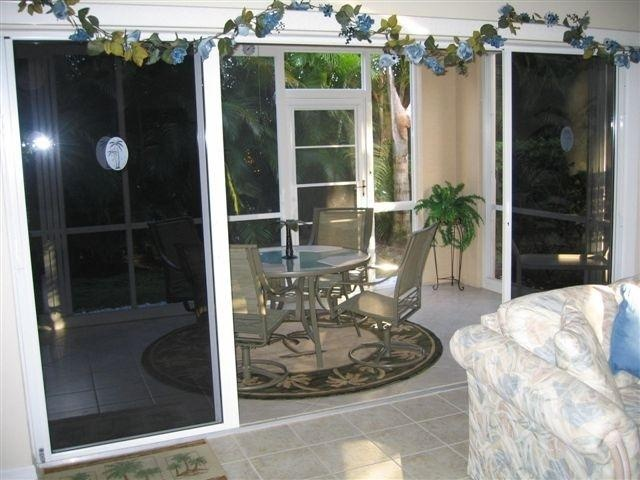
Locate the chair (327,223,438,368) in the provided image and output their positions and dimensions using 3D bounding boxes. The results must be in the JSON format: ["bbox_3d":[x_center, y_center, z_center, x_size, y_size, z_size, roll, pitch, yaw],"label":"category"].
[{"bbox_3d":[0.497,0.477,4.551,0.736,1.007,0.572,0,-1,22],"label":"chair"}]

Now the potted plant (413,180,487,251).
[{"bbox_3d":[1.543,-0.329,6.629,0.897,0.839,0.891,-1,6,-3],"label":"potted plant"}]
